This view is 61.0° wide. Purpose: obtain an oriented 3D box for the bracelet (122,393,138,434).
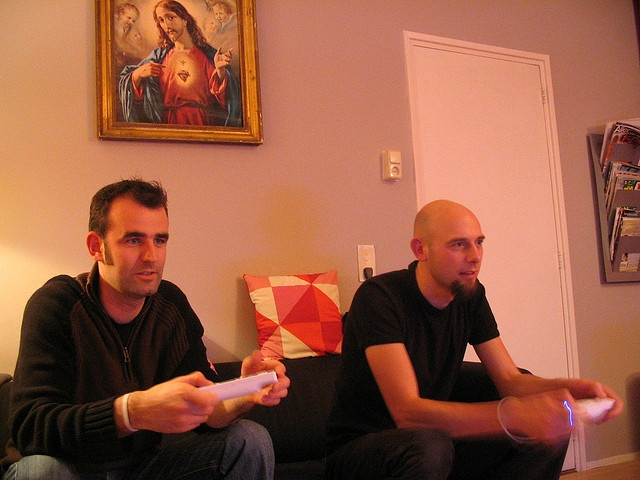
[{"bbox_3d":[-0.618,0.563,1.741,0.021,0.092,0.095,0,-37,-8],"label":"bracelet"}]
